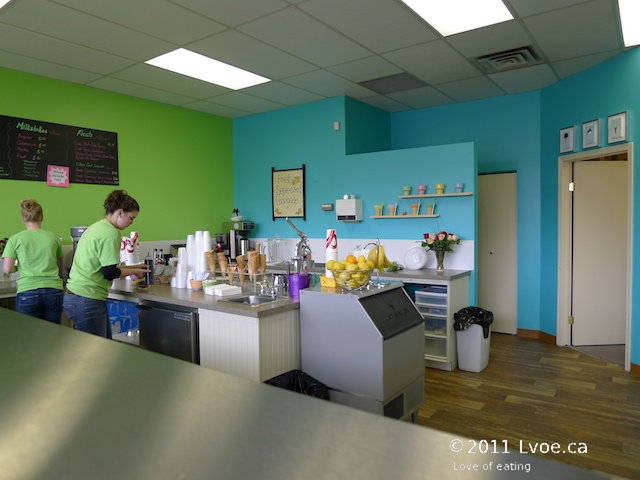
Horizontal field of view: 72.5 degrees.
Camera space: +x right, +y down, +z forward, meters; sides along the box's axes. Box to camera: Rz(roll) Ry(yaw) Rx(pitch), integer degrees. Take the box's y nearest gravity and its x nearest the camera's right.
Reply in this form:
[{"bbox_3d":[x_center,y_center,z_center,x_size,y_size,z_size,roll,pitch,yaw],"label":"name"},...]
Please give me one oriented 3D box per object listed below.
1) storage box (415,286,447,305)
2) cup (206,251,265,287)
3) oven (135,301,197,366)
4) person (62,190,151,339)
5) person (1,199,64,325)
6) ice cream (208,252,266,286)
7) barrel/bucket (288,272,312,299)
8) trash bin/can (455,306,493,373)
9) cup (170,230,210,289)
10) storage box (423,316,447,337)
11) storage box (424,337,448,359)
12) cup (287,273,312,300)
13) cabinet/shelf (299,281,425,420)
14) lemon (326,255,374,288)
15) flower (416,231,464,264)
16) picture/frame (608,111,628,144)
[{"bbox_3d":[1.214,0.561,4.645,0.207,0.078,0.209,2,5,41],"label":"storage box"},{"bbox_3d":[-0.662,0.225,3.447,0.468,0.189,0.259,-1,-1,35],"label":"cup"},{"bbox_3d":[-1.085,0.603,3.201,0.412,0.408,0.312,8,15,-2],"label":"oven"},{"bbox_3d":[-1.605,0.203,3.196,0.488,1.158,0.416,1,4,-6],"label":"person"},{"bbox_3d":[-2.285,0.298,3.502,0.401,0.757,0.202,-1,5,-37],"label":"person"},{"bbox_3d":[-0.643,0.213,3.457,0.447,0.195,0.267,3,2,42],"label":"ice cream"},{"bbox_3d":[-0.157,0.329,3.065,0.167,0.142,0.140,0,-2,22],"label":"barrel/bucket"},{"bbox_3d":[1.562,1.030,4.514,0.354,0.633,0.378,4,5,31],"label":"trash bin/can"},{"bbox_3d":[-1.019,0.155,3.480,0.343,0.456,0.218,5,5,37],"label":"cup"},{"bbox_3d":[1.235,0.920,4.627,0.293,0.209,0.199,1,3,42],"label":"storage box"},{"bbox_3d":[1.228,1.140,4.683,0.253,0.239,0.194,-2,-2,44],"label":"storage box"},{"bbox_3d":[-0.157,0.331,3.064,0.169,0.146,0.143,0,-2,29],"label":"cup"},{"bbox_3d":[0.353,0.815,3.322,0.836,1.231,0.906,-4,-4,28],"label":"cabinet/shelf"},{"bbox_3d":[0.207,0.206,2.795,0.230,0.150,0.239,0,-5,-6],"label":"lemon"},{"bbox_3d":[1.381,0.110,5.024,0.390,0.396,0.383,1,-2,-42],"label":"flower"},{"bbox_3d":[2.990,-1.125,4.390,0.076,0.289,0.208,1,4,-5],"label":"picture/frame"}]
